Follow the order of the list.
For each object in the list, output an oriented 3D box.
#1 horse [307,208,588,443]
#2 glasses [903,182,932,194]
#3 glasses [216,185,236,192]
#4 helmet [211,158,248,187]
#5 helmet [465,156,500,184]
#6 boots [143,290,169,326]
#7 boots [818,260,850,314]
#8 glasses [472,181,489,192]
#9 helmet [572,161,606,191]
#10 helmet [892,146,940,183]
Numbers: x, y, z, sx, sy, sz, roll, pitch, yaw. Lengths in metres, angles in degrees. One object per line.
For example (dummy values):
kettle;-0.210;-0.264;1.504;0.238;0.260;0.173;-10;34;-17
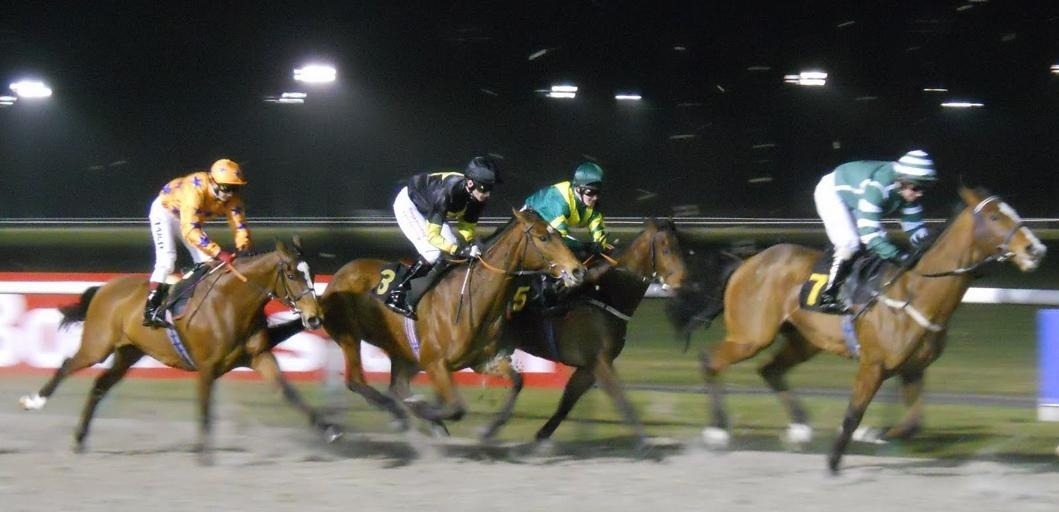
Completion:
horse;-1.083;0.834;14.905;1.404;2.686;4.872;-8;4;-43
glasses;4.717;-0.838;13.944;0.208;0.095;0.159;14;8;28
glasses;-3.803;-0.854;14.449;0.166;0.048;0.115;8;-7;-31
helmet;-3.882;-1.071;14.550;0.360;0.207;0.475;-1;3;-44
helmet;-0.590;-1.071;14.251;0.393;0.312;0.272;0;3;-9
boots;-4.648;0.642;14.273;0.357;0.403;0.219;11;-2;36
boots;3.754;0.371;14.132;0.335;0.649;0.179;1;3;16
glasses;-0.589;-0.868;14.201;0.121;0.064;0.141;15;1;-39
helmet;0.863;-1.006;14.606;0.572;0.278;0.363;-10;25;-24
helmet;4.747;-1.125;13.958;0.504;0.212;0.443;6;5;-7
